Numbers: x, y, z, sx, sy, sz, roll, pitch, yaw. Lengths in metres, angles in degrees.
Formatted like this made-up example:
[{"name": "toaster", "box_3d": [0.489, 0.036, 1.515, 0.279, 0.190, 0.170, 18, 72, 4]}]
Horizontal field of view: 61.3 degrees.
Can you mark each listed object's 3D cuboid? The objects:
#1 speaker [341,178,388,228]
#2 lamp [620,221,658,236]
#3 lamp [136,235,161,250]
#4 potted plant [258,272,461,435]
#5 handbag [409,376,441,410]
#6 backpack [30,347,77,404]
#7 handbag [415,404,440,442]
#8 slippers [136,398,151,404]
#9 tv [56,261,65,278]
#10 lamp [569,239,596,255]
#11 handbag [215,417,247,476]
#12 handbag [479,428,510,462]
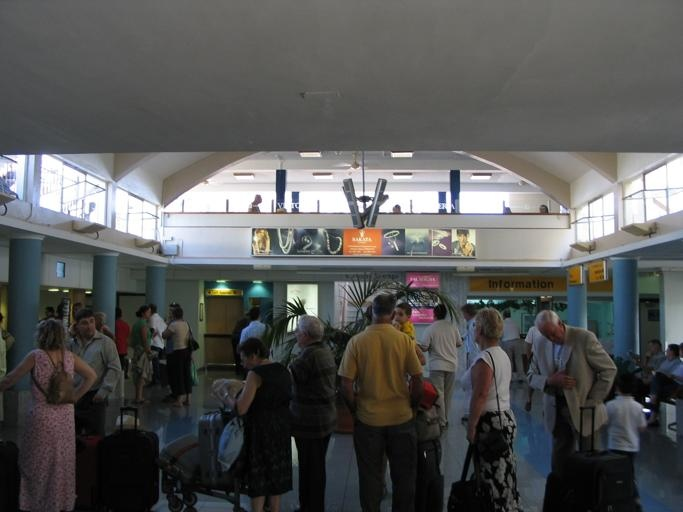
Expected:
[{"name": "speaker", "box_3d": [0.698, -1.357, 13.793, 1.145, 1.315, 1.133, 1, -5, -15]}, {"name": "lamp", "box_3d": [5.636, -0.494, 10.961, 0.481, 0.287, 0.522, 0, -9, 1]}, {"name": "lamp", "box_3d": [-4.693, -0.277, 13.958, 0.332, 0.313, 1.341, 1, -9, -7]}, {"name": "potted plant", "box_3d": [0.206, 0.892, 8.178, 2.738, 1.155, 2.828, -1, -8, 10]}, {"name": "handbag", "box_3d": [0.723, 1.187, 5.064, 0.188, 0.300, 0.559, -4, -9, 23]}, {"name": "backpack", "box_3d": [-2.550, 1.076, 5.110, 0.351, 0.458, 0.131, 4, -9, -25]}, {"name": "handbag", "box_3d": [0.773, 1.482, 5.117, 0.284, 0.315, 0.230, -16, -18, 41]}, {"name": "slippers", "box_3d": [-3.661, 2.681, 10.657, 0.253, 0.102, 0.092, 0, 4, -22]}, {"name": "tv", "box_3d": [-6.243, 0.283, 12.793, 0.174, 0.354, 0.347, -1, -3, 0]}, {"name": "lamp", "box_3d": [5.822, -0.240, 13.798, 0.246, 0.192, 0.485, -6, -11, 4]}, {"name": "handbag", "box_3d": [-0.975, 1.653, 5.088, 0.206, 0.488, 0.150, -6, -11, 37]}, {"name": "handbag", "box_3d": [1.268, 1.556, 4.786, 0.250, 0.259, 0.095, -12, 2, 10]}]
